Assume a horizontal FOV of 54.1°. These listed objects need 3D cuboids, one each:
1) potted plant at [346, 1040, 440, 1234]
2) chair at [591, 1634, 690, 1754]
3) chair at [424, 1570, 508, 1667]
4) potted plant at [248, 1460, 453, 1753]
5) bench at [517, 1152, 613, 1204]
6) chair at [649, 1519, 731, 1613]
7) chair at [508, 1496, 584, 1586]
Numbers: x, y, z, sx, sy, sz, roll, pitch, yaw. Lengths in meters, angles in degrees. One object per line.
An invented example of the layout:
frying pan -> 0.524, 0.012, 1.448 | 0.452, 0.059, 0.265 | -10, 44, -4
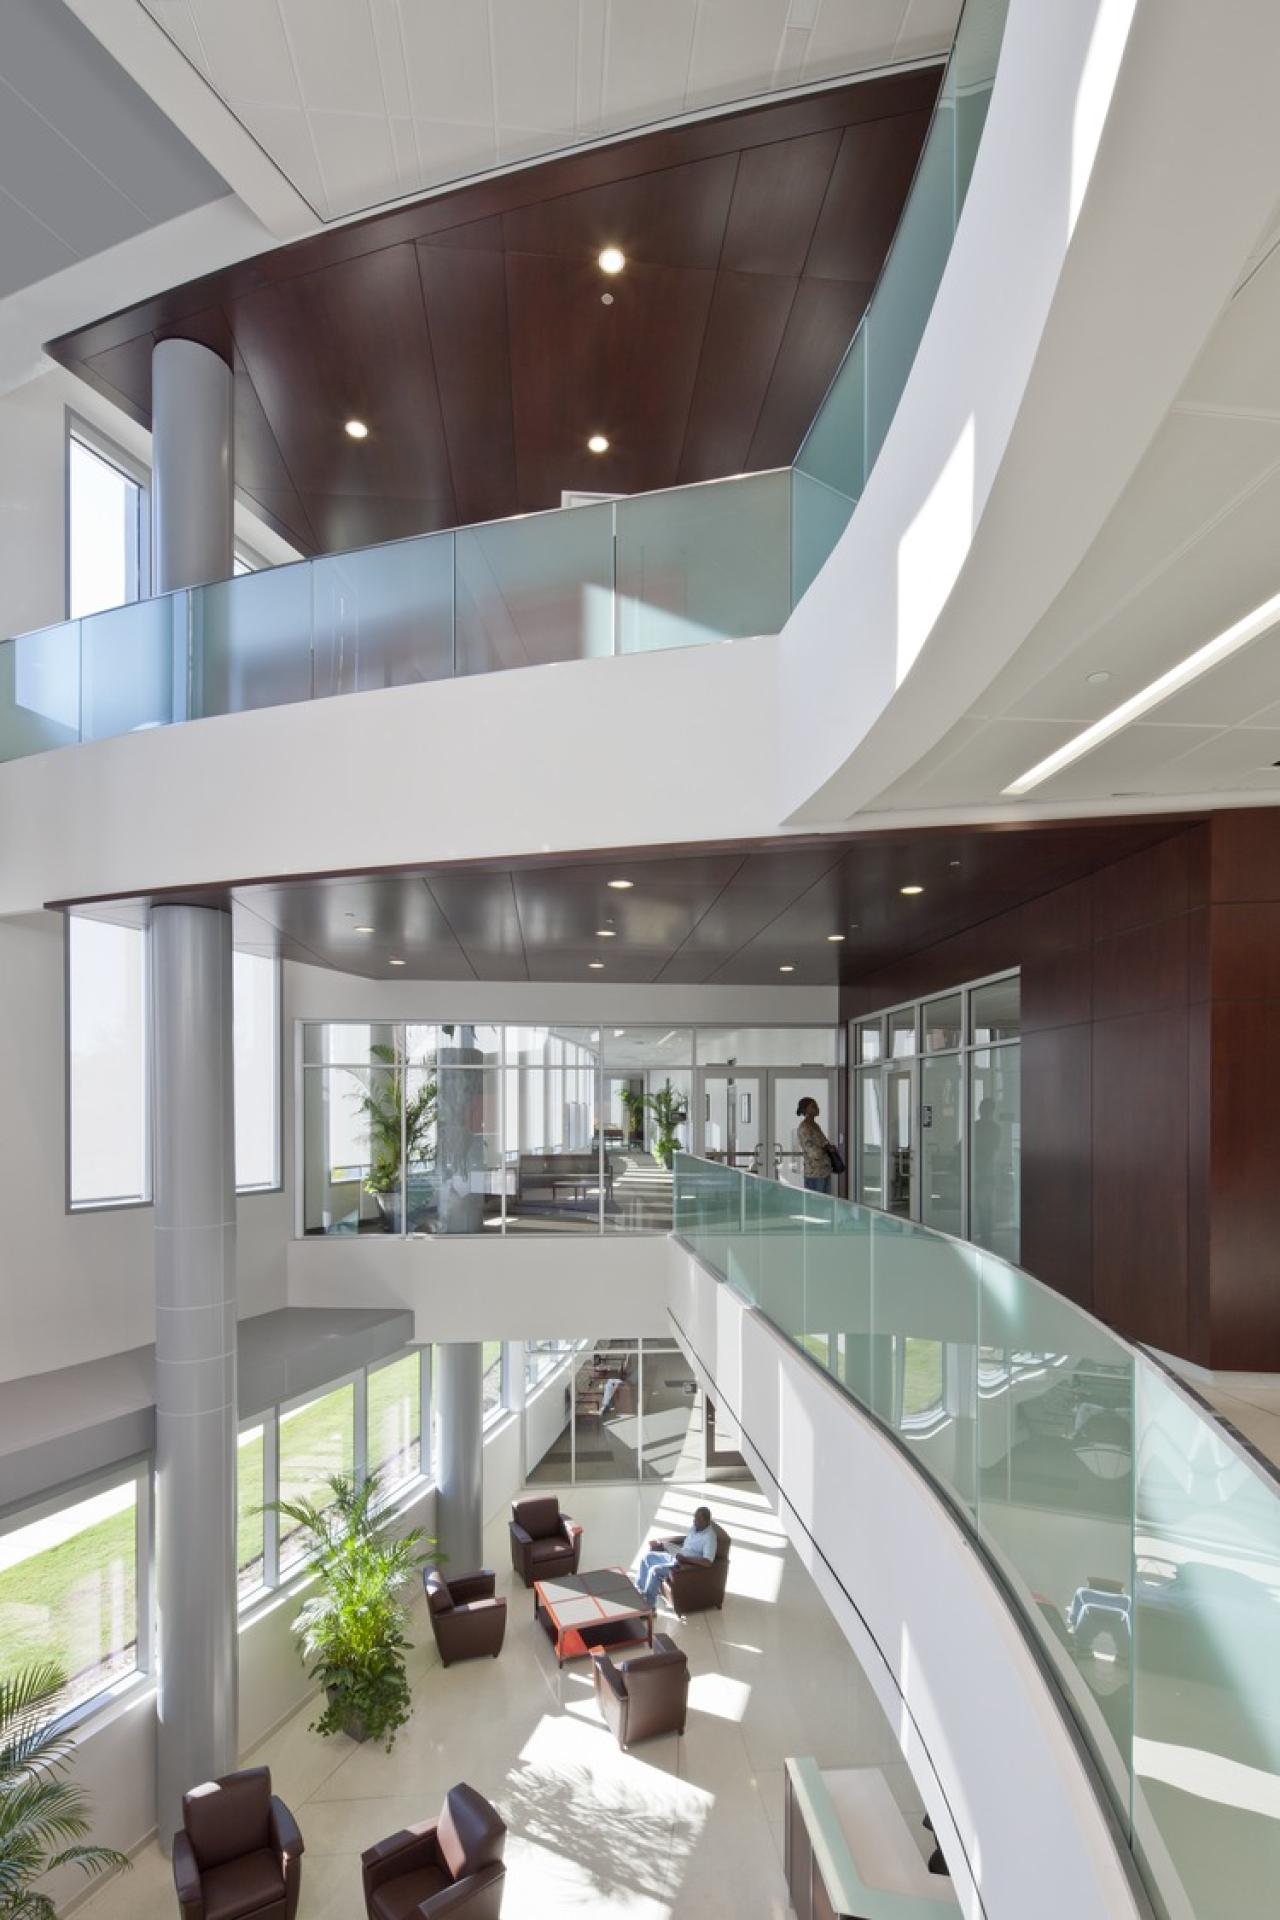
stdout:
potted plant -> -2.763, 1.997, 14.407 | 0.877, 2.173, 0.577 | 2, -5, -14
chair -> -0.003, 6.056, 10.567 | 0.713, 1.220, 0.779 | 0, 5, -14
chair -> -1.722, 6.483, 12.457 | 0.692, 1.008, 0.706 | -1, 0, -22
potted plant -> -2.255, 5.619, 10.643 | 1.048, 1.795, 1.044 | 2, 3, -6
bench -> -0.889, 2.617, 14.835 | 1.212, 0.581, 0.555 | 4, -7, -17
chair -> 0.565, 6.489, 13.473 | 0.655, 1.157, 0.742 | 4, -11, -11
chair -> -1.067, 6.747, 14.495 | 0.592, 0.937, 0.739 | 5, -10, -25
